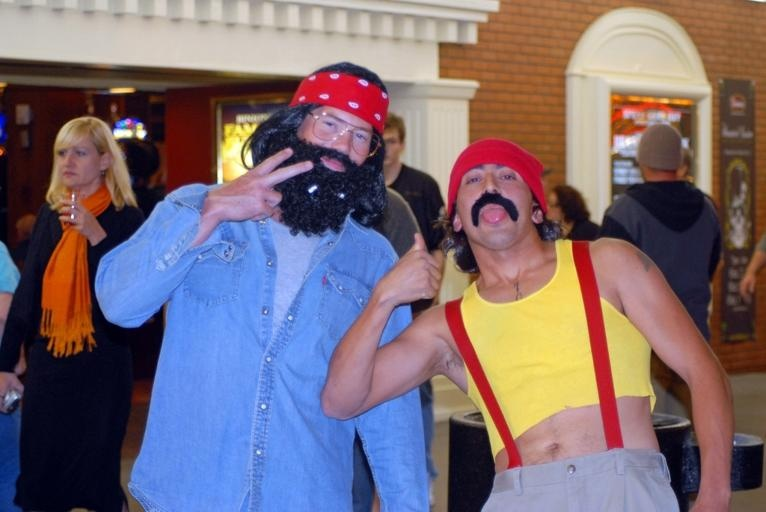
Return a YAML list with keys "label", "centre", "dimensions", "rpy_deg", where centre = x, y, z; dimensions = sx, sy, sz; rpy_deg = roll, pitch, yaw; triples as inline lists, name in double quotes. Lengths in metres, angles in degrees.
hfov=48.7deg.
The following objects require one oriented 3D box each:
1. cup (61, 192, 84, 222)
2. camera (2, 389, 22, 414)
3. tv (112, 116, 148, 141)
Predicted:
- label: "cup"
  centre: [-1.926, -0.294, 5.286]
  dimensions: [0.139, 0.195, 0.062]
  rpy_deg: [5, 0, 40]
- label: "camera"
  centre: [-2.316, 0.906, 5.269]
  dimensions: [0.084, 0.143, 0.044]
  rpy_deg: [18, 12, -29]
- label: "tv"
  centre: [-2.950, -1.474, 9.837]
  dimensions: [0.387, 0.407, 0.146]
  rpy_deg: [2, 36, 6]
